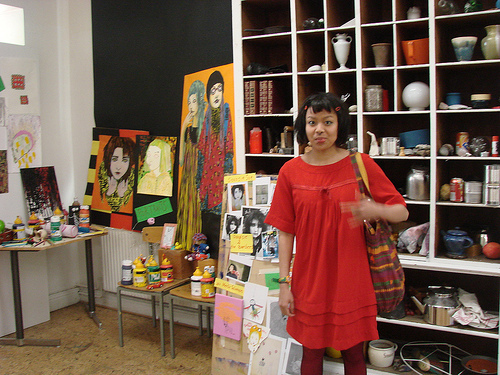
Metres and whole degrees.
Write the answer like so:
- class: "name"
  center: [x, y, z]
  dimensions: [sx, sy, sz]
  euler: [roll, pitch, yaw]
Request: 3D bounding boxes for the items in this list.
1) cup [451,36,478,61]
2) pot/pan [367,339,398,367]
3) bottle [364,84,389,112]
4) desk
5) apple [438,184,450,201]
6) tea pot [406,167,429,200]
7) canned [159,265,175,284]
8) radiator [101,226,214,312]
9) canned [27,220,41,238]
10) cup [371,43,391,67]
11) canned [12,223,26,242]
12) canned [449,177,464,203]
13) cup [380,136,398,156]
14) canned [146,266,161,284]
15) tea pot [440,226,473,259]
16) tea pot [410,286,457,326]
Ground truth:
- class: "cup"
  center: [1.600, -1.042, 2.985]
  dimensions: [0.197, 0.161, 0.187]
  euler: [-1, 4, 0]
- class: "pot/pan"
  center: [1.063, 1.319, 3.240]
  dimensions: [0.269, 0.171, 0.307]
  euler: [2, 4, 14]
- class: "bottle"
  center: [1.025, -0.716, 3.238]
  dimensions: [0.201, 0.225, 0.206]
  euler: [1, 4, 0]
- class: "desk"
  center: [-2.164, 1.053, 4.397]
  dimensions: [0.727, 0.956, 1.068]
  euler: [-1, 6, 39]
- class: "apple"
  center: [1.515, 0.036, 3.146]
  dimensions: [0.087, 0.083, 0.113]
  euler: [17, 24, 17]
- class: "tea pot"
  center: [1.325, -0.024, 3.147]
  dimensions: [0.171, 0.250, 0.232]
  euler: [0, 2, 0]
- class: "canned"
  center: [-0.819, 0.857, 3.986]
  dimensions: [0.149, 0.168, 0.151]
  euler: [-1, -1, -7]
- class: "radiator"
  center: [-0.930, 0.841, 4.211]
  dimensions: [1.003, 1.164, 0.127]
  euler: [5, 6, 30]
- class: "canned"
  center: [-2.299, 0.434, 4.255]
  dimensions: [0.181, 0.167, 0.180]
  euler: [1, -6, -22]
- class: "cup"
  center: [1.081, -1.083, 3.278]
  dimensions: [0.149, 0.209, 0.141]
  euler: [-5, 5, 0]
- class: "canned"
  center: [-2.396, 0.463, 4.175]
  dimensions: [0.147, 0.174, 0.176]
  euler: [0, -3, -24]
- class: "canned"
  center: [1.579, 0.019, 3.055]
  dimensions: [0.102, 0.183, 0.073]
  euler: [-3, 5, 28]
- class: "cup"
  center: [1.135, -0.341, 3.257]
  dimensions: [0.136, 0.153, 0.139]
  euler: [0, -1, 0]
- class: "canned"
  center: [-0.948, 0.855, 3.962]
  dimensions: [0.134, 0.181, 0.127]
  euler: [-6, 5, -13]
- class: "tea pot"
  center: [1.588, 0.422, 3.069]
  dimensions: [0.174, 0.215, 0.226]
  euler: [-1, 3, -34]
- class: "tea pot"
  center: [1.451, 0.916, 3.148]
  dimensions: [0.291, 0.212, 0.220]
  euler: [-1, 0, 43]
